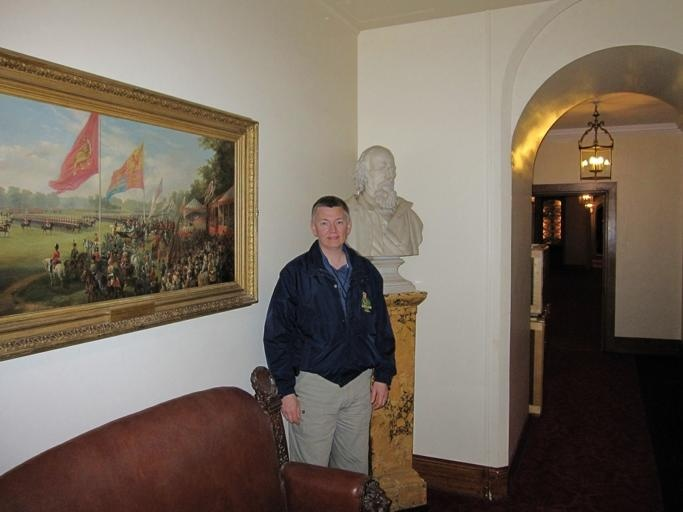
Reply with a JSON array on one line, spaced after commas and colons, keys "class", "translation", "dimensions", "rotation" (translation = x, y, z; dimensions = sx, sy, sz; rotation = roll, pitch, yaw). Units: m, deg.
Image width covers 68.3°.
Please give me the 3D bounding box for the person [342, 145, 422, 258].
[{"class": "person", "translation": [0.277, -0.360, 3.353], "dimensions": [0.611, 0.962, 0.444], "rotation": [-4, 9, -26]}]
